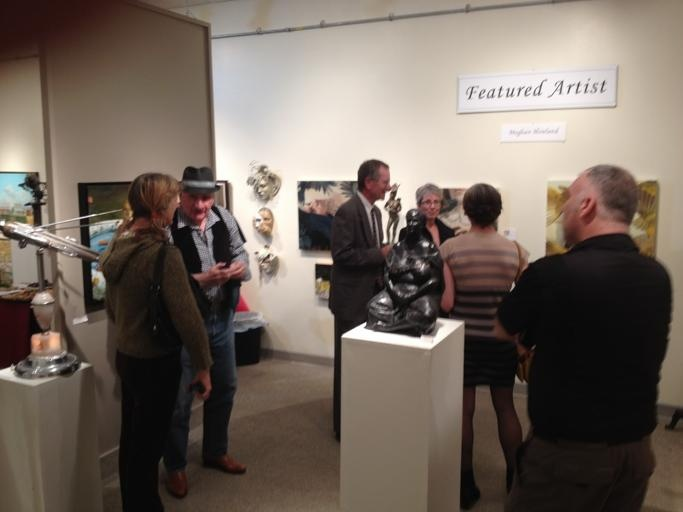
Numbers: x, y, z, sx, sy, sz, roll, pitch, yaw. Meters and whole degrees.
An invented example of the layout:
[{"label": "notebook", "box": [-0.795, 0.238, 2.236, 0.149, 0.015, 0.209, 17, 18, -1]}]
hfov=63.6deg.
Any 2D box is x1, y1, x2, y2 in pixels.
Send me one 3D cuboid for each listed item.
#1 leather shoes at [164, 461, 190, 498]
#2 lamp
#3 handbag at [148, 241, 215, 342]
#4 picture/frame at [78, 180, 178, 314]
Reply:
[{"label": "leather shoes", "box": [-1.156, 1.544, 3.819, 0.105, 0.099, 0.219, -4, 17, -32]}, {"label": "lamp", "box": [-1.671, 0.451, 3.388, 0.379, 0.511, 0.454, 2, 3, -10]}, {"label": "handbag", "box": [-0.935, 0.209, 3.119, 0.134, 0.590, 0.379, 6, 13, 28]}, {"label": "picture/frame", "box": [-1.265, -0.039, 3.223, 0.087, 0.907, 0.736, 7, 12, 34]}]
